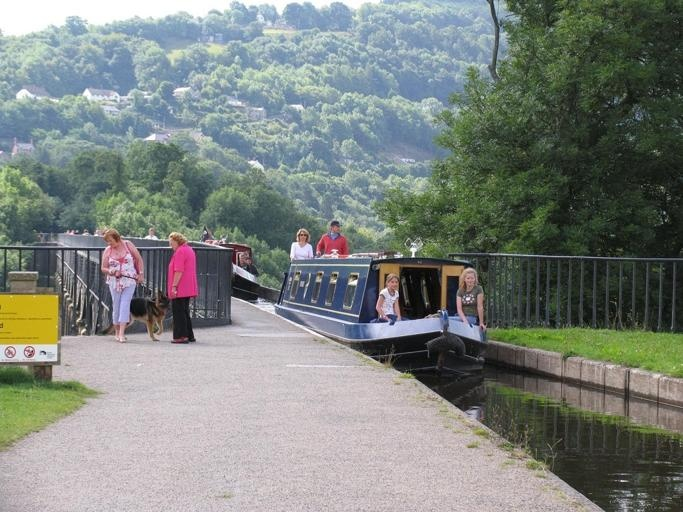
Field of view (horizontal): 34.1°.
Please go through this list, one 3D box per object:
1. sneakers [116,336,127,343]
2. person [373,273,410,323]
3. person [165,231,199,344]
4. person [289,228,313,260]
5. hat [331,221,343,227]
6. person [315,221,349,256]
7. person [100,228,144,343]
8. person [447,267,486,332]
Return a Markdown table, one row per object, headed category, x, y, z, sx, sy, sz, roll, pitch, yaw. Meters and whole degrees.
| category | x | y | z | sx | sy | sz | roll | pitch | yaw |
| --- | --- | --- | --- | --- | --- | --- | --- | --- | --- |
| sneakers | -4.409 | 1.666 | 22.194 | 0.108 | 0.093 | 0.300 | 0 | 2 | -14 |
| person | 1.247 | 0.928 | 24.295 | 1.002 | 1.256 | 0.841 | -2 | 1 | -35 |
| person | -3.213 | 0.644 | 22.441 | 0.530 | 2.226 | 0.910 | 0 | -1 | -9 |
| person | -1.059 | -0.225 | 29.840 | 0.659 | 0.965 | 0.547 | 2 | -3 | -6 |
| hat | -0.156 | -0.798 | 27.827 | 0.246 | 0.131 | 0.354 | 1 | 3 | -5 |
| person | -0.221 | -0.294 | 28.324 | 0.792 | 1.111 | 0.535 | -1 | -12 | 6 |
| person | -4.384 | 0.599 | 22.258 | 0.783 | 2.243 | 0.992 | 0 | -1 | -12 |
| person | 2.815 | 0.942 | 23.984 | 0.590 | 1.341 | 0.859 | 0 | -1 | 0 |
